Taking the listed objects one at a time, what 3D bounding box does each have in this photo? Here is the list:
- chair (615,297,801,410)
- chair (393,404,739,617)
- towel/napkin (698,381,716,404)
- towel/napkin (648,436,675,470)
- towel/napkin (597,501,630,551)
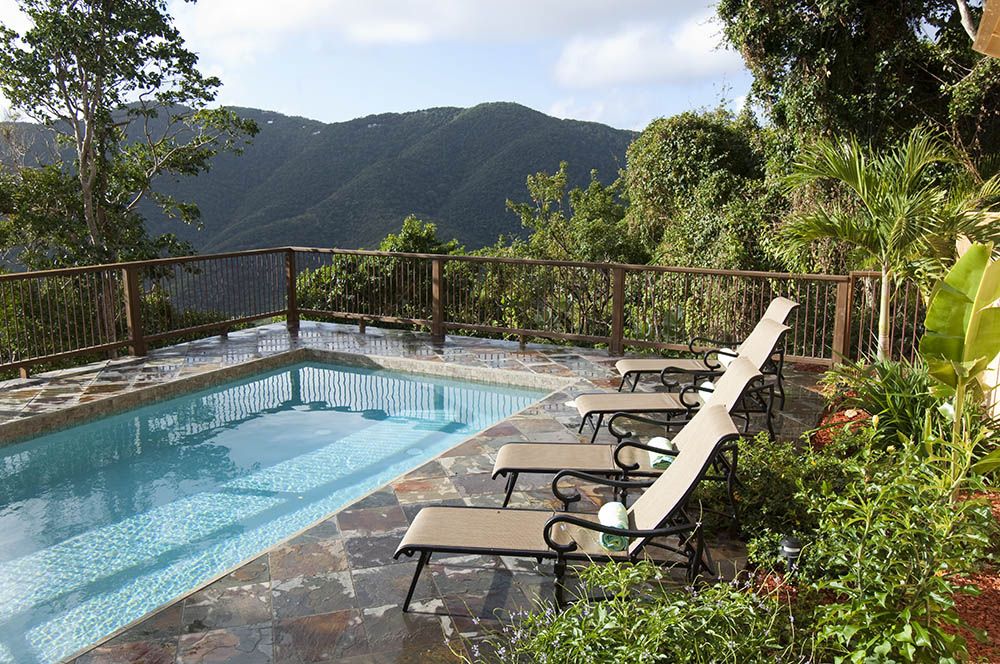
[{"bbox_3d":[2.413,0.280,7.746,1.433,0.825,0.525,0,14,19],"label":"chair"},{"bbox_3d":[0.429,1.289,5.110,2.240,1.308,1.084,0,5,6],"label":"chair"},{"bbox_3d":[1.981,0.586,6.727,0.055,0.232,0.229,13,-3,-20],"label":"towel/napkin"},{"bbox_3d":[1.306,0.991,5.769,0.153,0.095,0.253,3,23,10],"label":"towel/napkin"},{"bbox_3d":[0.789,1.363,4.888,0.207,0.274,0.451,1,5,11],"label":"towel/napkin"}]
